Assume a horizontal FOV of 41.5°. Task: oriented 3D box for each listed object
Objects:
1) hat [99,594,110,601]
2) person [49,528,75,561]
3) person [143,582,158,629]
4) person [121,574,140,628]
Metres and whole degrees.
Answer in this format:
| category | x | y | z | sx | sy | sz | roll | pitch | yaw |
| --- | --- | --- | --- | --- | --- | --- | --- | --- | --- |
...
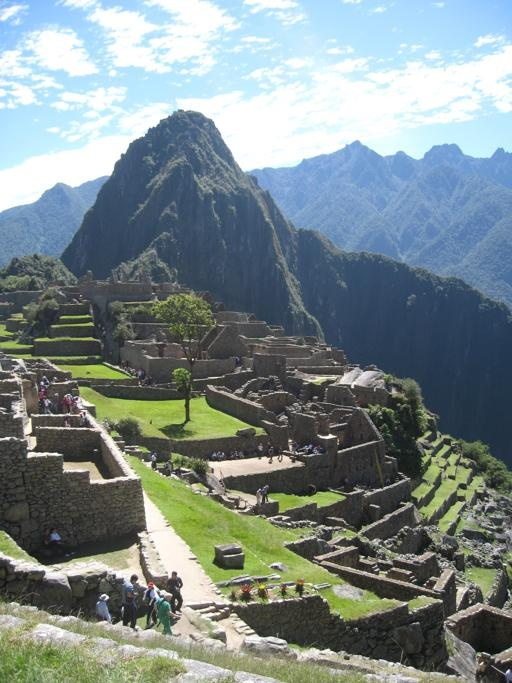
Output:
| category | x | y | z | sx | sy | sz | roll | pitch | yaw |
| --- | --- | --- | --- | --- | --- | --- | --- | --- | --- |
| hat | -2.674 | 4.586 | 11.941 | 0.197 | 0.099 | 0.291 | 7 | -7 | -19 |
| person | -4.288 | 4.512 | 14.868 | 0.325 | 0.268 | 0.705 | 17 | 17 | -37 |
| person | -2.034 | 5.137 | 13.100 | 0.258 | 0.833 | 0.274 | 0 | -2 | 42 |
| person | -2.333 | 4.921 | 12.529 | 0.284 | 1.006 | 1.003 | 1 | 5 | -11 |
